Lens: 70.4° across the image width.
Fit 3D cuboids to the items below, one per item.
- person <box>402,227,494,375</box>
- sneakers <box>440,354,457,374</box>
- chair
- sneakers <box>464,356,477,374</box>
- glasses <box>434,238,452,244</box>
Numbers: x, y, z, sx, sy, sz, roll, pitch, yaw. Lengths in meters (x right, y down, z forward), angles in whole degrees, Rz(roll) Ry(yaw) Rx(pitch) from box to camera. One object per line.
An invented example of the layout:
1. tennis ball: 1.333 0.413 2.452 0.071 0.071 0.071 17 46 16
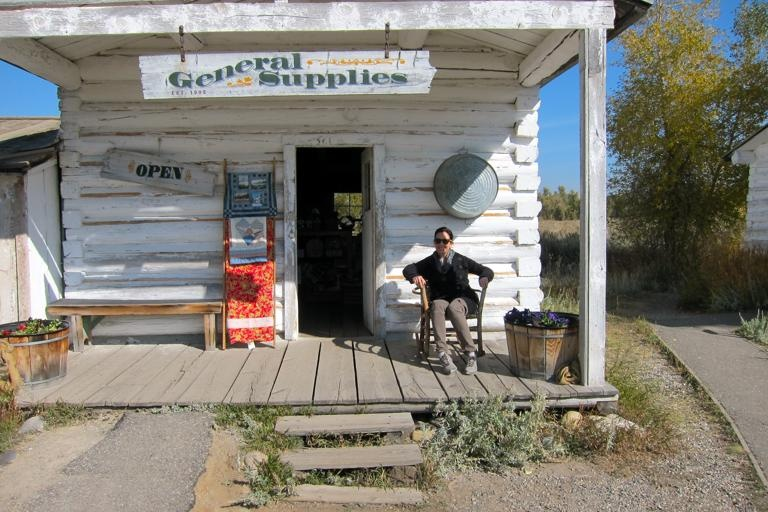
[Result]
1. person: 0.853 0.644 7.230 1.046 1.621 0.739 1 2 23
2. sneakers: 0.804 1.358 6.926 0.132 0.152 0.338 -20 40 -3
3. chair: 0.773 0.787 7.650 1.080 1.328 0.987 0 5 2
4. sneakers: 1.099 1.368 6.881 0.110 0.106 0.272 0 4 9
5. glasses: 0.782 -0.215 7.257 0.213 0.070 0.138 0 2 3
